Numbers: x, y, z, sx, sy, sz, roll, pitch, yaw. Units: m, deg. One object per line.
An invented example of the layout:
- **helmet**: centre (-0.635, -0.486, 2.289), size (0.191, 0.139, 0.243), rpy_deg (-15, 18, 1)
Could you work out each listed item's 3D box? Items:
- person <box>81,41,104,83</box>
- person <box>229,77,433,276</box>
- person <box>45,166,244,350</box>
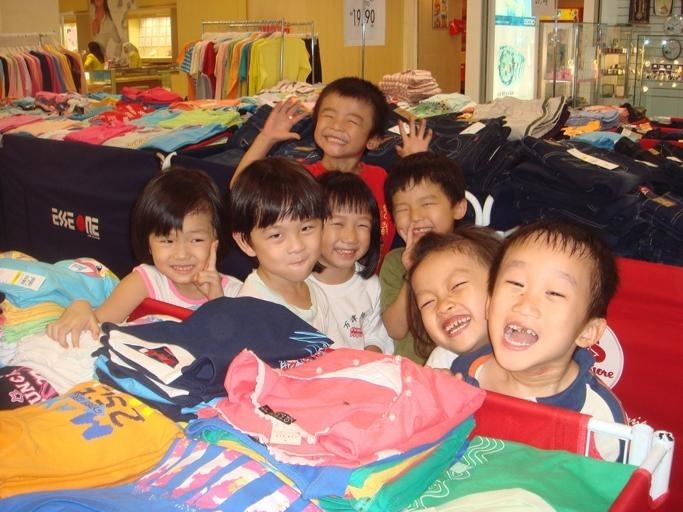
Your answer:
- **person**: centre (-3.916, -3.122, 8.464), size (0.321, 0.634, 1.122), rpy_deg (-7, 16, -23)
- **person**: centre (-0.049, -0.192, 2.857), size (0.962, 1.472, 0.398), rpy_deg (6, 20, -6)
- **person**: centre (-0.722, -0.012, 2.010), size (0.519, 0.847, 0.351), rpy_deg (10, 16, -23)
